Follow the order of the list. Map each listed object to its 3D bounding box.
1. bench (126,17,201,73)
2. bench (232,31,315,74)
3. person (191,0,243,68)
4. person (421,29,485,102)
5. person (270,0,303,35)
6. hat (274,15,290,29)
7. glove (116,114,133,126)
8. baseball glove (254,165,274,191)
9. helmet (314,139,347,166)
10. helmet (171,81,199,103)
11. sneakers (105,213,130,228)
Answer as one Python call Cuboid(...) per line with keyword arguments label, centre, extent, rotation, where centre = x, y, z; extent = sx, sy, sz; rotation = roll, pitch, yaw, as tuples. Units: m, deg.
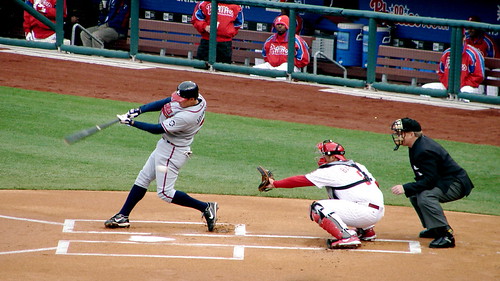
Cuboid(label="bench", centre=(-2.283, -2.589, 23.270), extent=(1.376, 1.611, 3.008), rotation=(0, 6, -40))
Cuboid(label="bench", centre=(0.659, -2.511, 21.561), extent=(1.813, 0.661, 0.497), rotation=(2, 41, 9))
Cuboid(label="person", centre=(-0.952, -3.082, 21.605), extent=(1.361, 1.706, 0.592), rotation=(6, 9, -1))
Cuboid(label="person", centre=(5.357, -1.909, 19.552), extent=(1.164, 1.570, 1.524), rotation=(-12, 18, -37))
Cuboid(label="person", centre=(1.271, -3.703, 22.362), extent=(1.087, 1.183, 0.471), rotation=(-2, -2, -4))
Cuboid(label="hat", centre=(0.897, -3.296, 21.008), extent=(0.416, 0.382, 0.526), rotation=(6, 8, 0))
Cuboid(label="glove", centre=(-2.413, -0.406, 14.500), extent=(0.288, 0.192, 0.256), rotation=(4, 8, -11))
Cuboid(label="baseball glove", centre=(0.256, 0.686, 14.676), extent=(0.223, 0.549, 0.275), rotation=(-34, -15, 32))
Cuboid(label="helmet", centre=(1.592, 0.204, 14.549), extent=(0.615, 0.417, 0.450), rotation=(-2, 7, 18))
Cuboid(label="helmet", centre=(-1.262, -0.982, 14.504), extent=(0.609, 0.266, 0.414), rotation=(-18, 37, -25))
Cuboid(label="sneakers", centre=(-2.553, 1.558, 14.553), extent=(0.532, 0.251, 0.215), rotation=(2, 13, -9))
